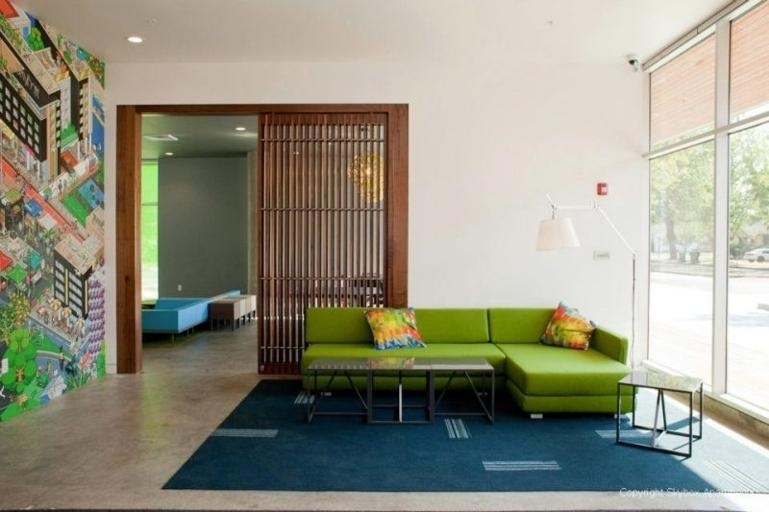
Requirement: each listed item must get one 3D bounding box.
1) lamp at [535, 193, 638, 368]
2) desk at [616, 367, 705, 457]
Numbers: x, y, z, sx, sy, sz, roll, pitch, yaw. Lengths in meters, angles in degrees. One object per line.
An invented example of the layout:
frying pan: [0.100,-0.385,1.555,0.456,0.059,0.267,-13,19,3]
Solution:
lamp: [2.569,0.082,7.187,1.165,2.039,0.456,3,47,24]
desk: [2.868,1.552,6.023,0.743,0.885,1.040,0,3,36]
